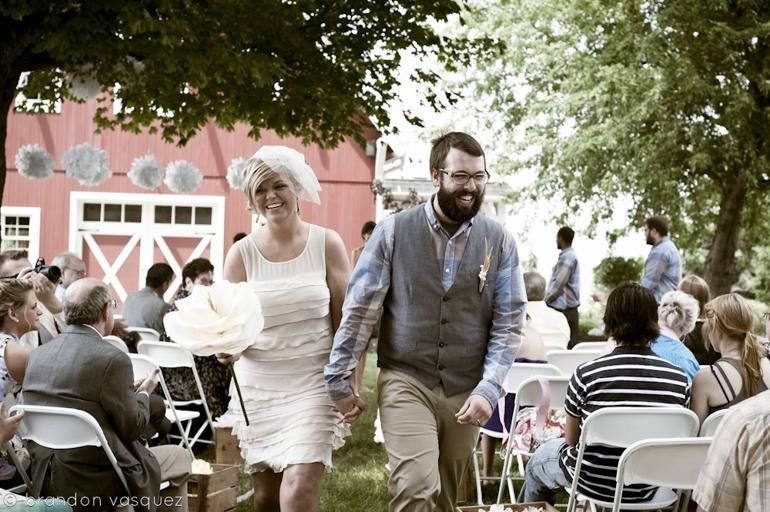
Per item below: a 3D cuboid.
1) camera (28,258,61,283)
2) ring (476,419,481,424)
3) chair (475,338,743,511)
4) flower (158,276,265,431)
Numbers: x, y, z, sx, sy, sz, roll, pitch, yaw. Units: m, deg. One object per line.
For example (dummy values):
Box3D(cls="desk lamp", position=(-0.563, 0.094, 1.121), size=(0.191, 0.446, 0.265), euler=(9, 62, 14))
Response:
Box3D(cls="camera", position=(-3.207, 0.134, 7.820), size=(0.275, 0.268, 0.173), euler=(-5, -3, 26))
Box3D(cls="ring", position=(0.660, 1.172, 5.857), size=(0.029, 0.029, 0.010), euler=(0, 3, -22))
Box3D(cls="chair", position=(1.854, 1.337, 7.044), size=(1.105, 2.036, 1.463), euler=(2, 2, -3))
Box3D(cls="flower", position=(-1.241, 0.626, 6.072), size=(0.598, 1.023, 0.568), euler=(-20, 37, -21))
